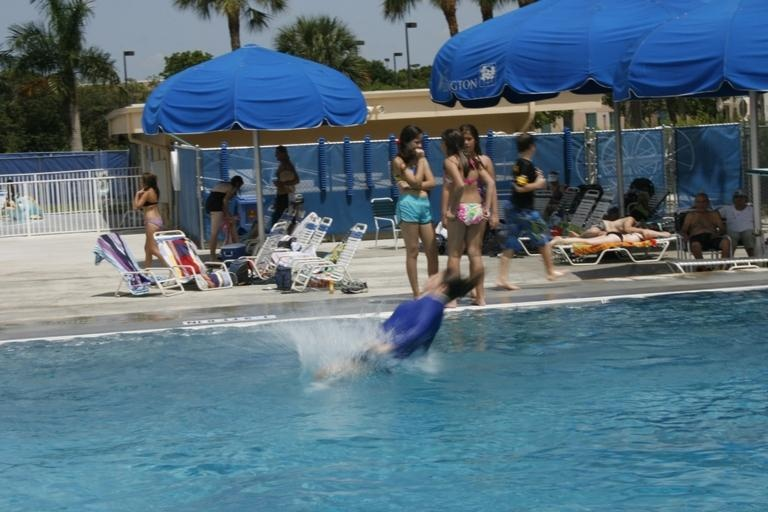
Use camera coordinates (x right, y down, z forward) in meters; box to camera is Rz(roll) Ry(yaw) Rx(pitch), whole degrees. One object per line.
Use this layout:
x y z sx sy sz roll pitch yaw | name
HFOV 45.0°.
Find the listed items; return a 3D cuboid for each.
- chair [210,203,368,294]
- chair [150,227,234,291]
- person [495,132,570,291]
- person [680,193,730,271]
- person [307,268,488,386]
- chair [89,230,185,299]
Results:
-1.392 -0.081 15.644 1.478 1.182 2.492 -8 8 -39 | chair
-3.238 0.056 15.719 1.315 0.751 0.761 13 20 41 | chair
2.120 -0.479 13.903 0.925 2.002 0.654 -1 7 20 | person
5.684 -0.392 16.417 0.849 1.362 0.858 -3 8 6 | person
0.200 0.965 12.040 2.183 0.566 0.627 -32 -29 7 | person
-4.189 0.122 15.428 1.442 0.886 1.127 2 5 15 | chair
